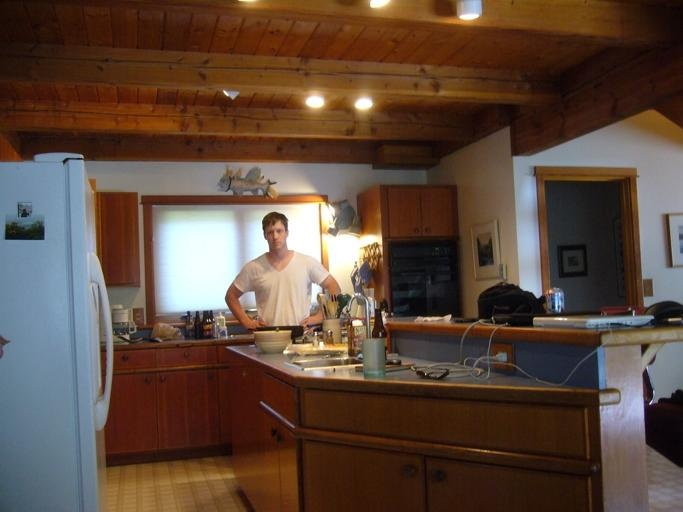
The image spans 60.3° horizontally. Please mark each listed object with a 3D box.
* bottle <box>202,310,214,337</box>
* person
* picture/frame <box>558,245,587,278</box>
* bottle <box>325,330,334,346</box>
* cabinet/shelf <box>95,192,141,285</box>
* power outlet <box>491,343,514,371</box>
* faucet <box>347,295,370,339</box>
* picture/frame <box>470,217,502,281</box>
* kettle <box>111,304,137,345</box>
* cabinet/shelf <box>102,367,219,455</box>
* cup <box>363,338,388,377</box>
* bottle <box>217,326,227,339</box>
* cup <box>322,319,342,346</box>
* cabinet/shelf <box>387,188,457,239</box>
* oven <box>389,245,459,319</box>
[{"bbox_3d":[-1.370,0.685,6.064,0.129,0.218,0.438,-13,10,-13],"label":"bottle"},{"bbox_3d":[-0.632,0.162,5.733,1.188,1.739,0.483,-2,-7,0],"label":"person"},{"bbox_3d":[3.059,0.081,7.760,0.393,0.490,0.050,1,-15,4],"label":"picture/frame"},{"bbox_3d":[-0.080,0.563,4.066,0.056,0.089,0.064,-10,10,0],"label":"bottle"},{"bbox_3d":[-2.400,-0.203,6.460,0.404,1.026,0.106,1,7,4],"label":"cabinet/shelf"},{"bbox_3d":[0.808,0.501,2.930,0.020,0.145,0.151,0,1,-19],"label":"power outlet"},{"bbox_3d":[0.104,0.404,3.682,0.160,0.367,0.073,3,-35,-4],"label":"faucet"},{"bbox_3d":[1.538,-0.087,6.212,0.092,0.730,0.626,-1,-4,-15],"label":"picture/frame"},{"bbox_3d":[-2.173,0.664,5.869,0.296,0.343,0.231,-4,4,12],"label":"kettle"},{"bbox_3d":[-1.662,1.408,5.774,1.289,0.919,0.703,-6,-6,2],"label":"cabinet/shelf"},{"bbox_3d":[0.169,0.533,3.089,0.130,0.180,0.247,-9,10,6],"label":"cup"},{"bbox_3d":[-1.174,0.778,5.955,0.094,0.145,0.097,-1,-8,0],"label":"bottle"},{"bbox_3d":[-0.061,0.520,4.108,0.136,0.166,0.149,-1,-6,0],"label":"cup"},{"bbox_3d":[0.906,-0.475,6.781,0.828,0.652,0.316,0,-7,-4],"label":"cabinet/shelf"},{"bbox_3d":[0.950,0.474,6.714,0.725,0.456,1.349,-4,41,9],"label":"oven"}]
